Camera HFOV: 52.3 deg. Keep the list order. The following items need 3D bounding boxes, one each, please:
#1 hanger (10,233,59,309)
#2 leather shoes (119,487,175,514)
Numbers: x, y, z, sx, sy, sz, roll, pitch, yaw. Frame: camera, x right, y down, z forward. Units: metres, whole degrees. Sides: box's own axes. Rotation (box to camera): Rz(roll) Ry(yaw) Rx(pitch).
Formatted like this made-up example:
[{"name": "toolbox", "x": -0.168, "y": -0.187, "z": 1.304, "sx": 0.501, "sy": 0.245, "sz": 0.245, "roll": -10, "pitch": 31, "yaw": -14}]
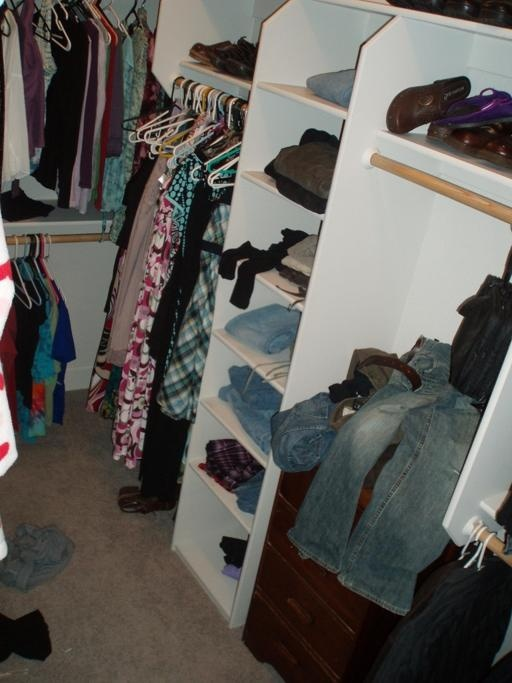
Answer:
[{"name": "hanger", "x": -0.982, "y": -0.309, "z": 2.273, "sx": 0.144, "sy": 0.384, "sz": 0.394, "roll": -9, "pitch": 15, "yaw": -32}, {"name": "leather shoes", "x": -0.483, "y": 0.703, "z": 2.319, "sx": 0.203, "sy": 0.066, "sz": 0.122, "roll": 1, "pitch": 2, "yaw": -29}]
